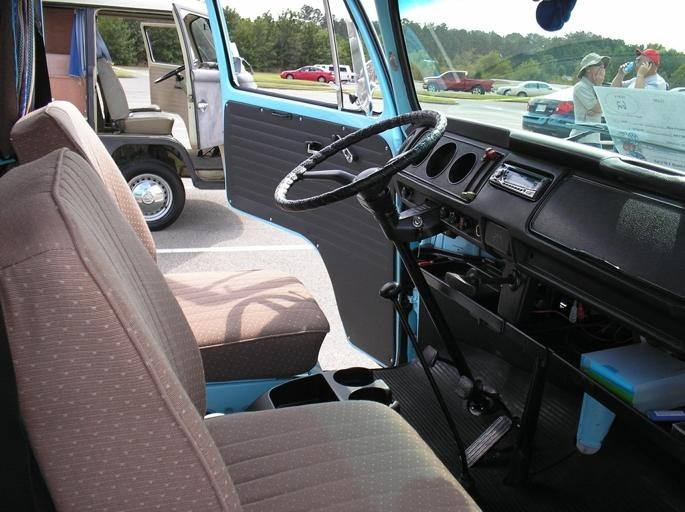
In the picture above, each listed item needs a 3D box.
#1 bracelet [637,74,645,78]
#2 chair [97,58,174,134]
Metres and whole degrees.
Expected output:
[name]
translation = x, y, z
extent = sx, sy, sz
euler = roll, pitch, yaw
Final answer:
[bracelet]
translation = 0.740, -0.445, 1.240
extent = 0.009, 0.008, 0.009
euler = 1, 45, 3
[chair]
translation = -1.945, -1.577, 5.014
extent = 0.806, 0.891, 0.548
euler = -3, 21, -14
